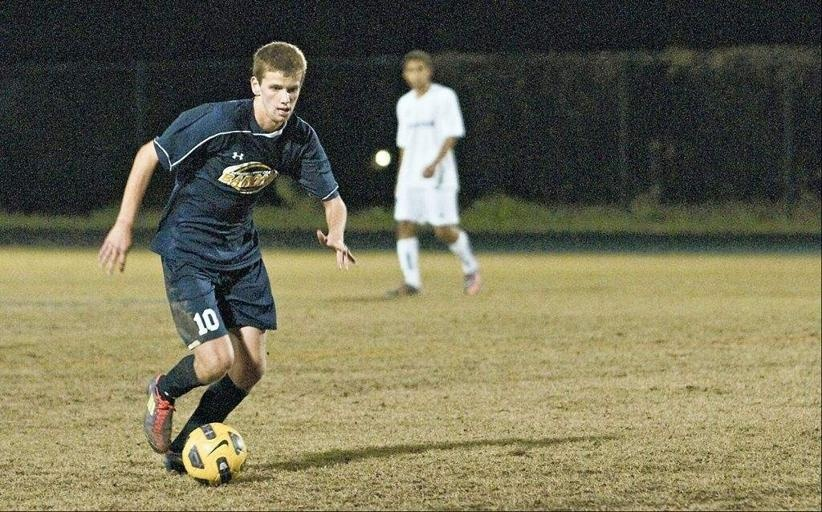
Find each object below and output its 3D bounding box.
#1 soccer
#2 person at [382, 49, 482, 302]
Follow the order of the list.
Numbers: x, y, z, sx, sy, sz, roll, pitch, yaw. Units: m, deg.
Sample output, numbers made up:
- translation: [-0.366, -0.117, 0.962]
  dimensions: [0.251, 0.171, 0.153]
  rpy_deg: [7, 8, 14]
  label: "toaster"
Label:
- translation: [-1.907, 1.927, 15.583]
  dimensions: [0.578, 0.573, 0.553]
  rpy_deg: [-1, -13, -12]
  label: "soccer"
- translation: [0.258, -0.950, 18.652]
  dimensions: [0.943, 2.847, 0.467]
  rpy_deg: [-1, 5, 2]
  label: "person"
